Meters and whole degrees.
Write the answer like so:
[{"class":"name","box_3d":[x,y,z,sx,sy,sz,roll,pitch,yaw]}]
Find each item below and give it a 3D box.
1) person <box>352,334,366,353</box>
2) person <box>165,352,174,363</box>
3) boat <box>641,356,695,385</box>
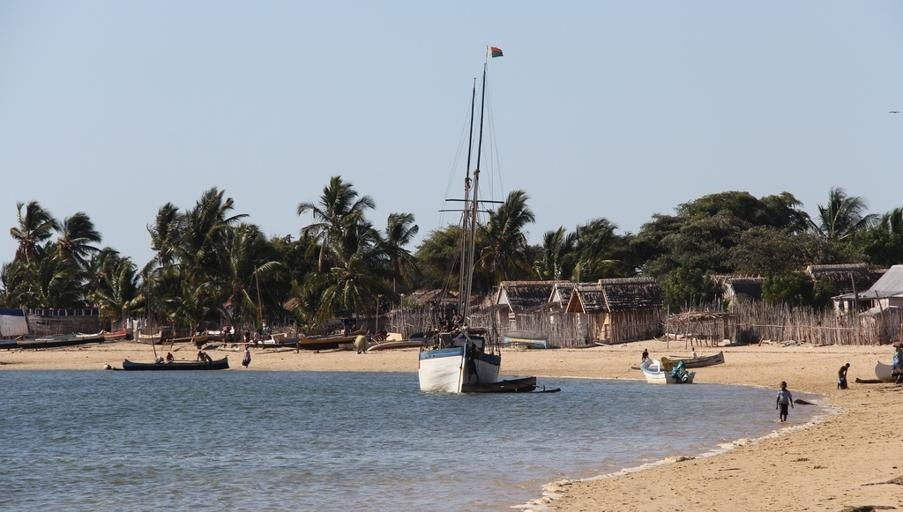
[{"class":"person","box_3d":[-7.859,7.504,98.595,0.915,1.316,1.116,-3,9,-1]},{"class":"person","box_3d":[-24.011,8.508,96.568,0.706,1.137,0.409,1,6,10]},{"class":"boat","box_3d":[15.073,8.013,80.347,1.785,1.159,2.928,2,1,-20]}]
